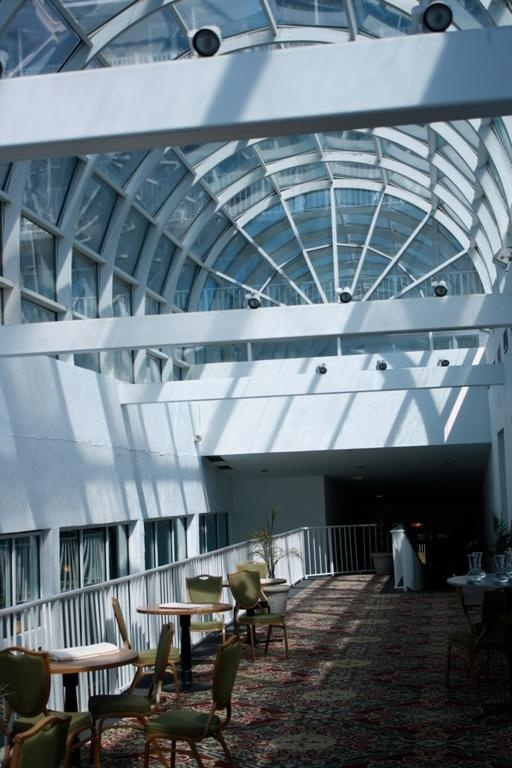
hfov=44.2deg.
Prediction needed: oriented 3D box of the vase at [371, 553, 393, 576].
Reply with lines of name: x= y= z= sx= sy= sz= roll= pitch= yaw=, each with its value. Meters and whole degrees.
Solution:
vase: x=3.434 y=4.934 z=17.324 sx=0.605 sy=0.591 sz=0.766 roll=-2 pitch=-7 yaw=18
